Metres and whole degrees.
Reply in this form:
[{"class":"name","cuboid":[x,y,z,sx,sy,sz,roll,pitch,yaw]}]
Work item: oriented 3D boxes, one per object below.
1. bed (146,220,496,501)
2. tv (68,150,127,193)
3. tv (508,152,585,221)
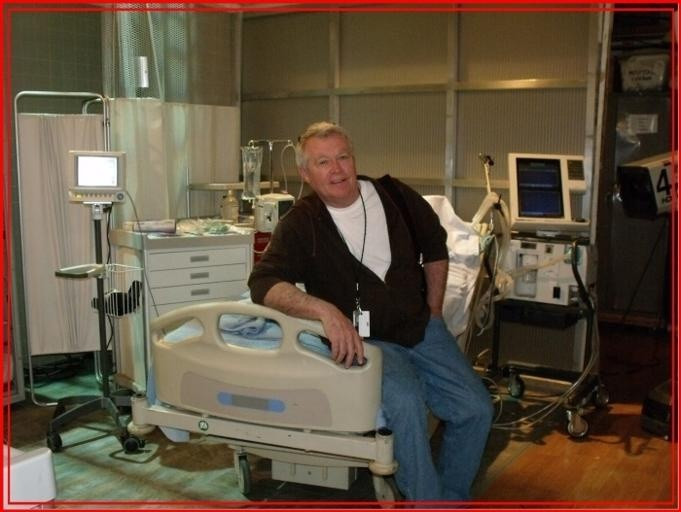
[{"class":"bed","cuboid":[0.011,0.264,3.116,1.206,0.891,2.073,1,13,19]},{"class":"tv","cuboid":[-1.415,-0.497,3.427,0.306,0.252,0.169,-3,20,-29]},{"class":"tv","cuboid":[1.316,-0.446,3.776,0.499,0.458,0.069,2,-15,4]}]
